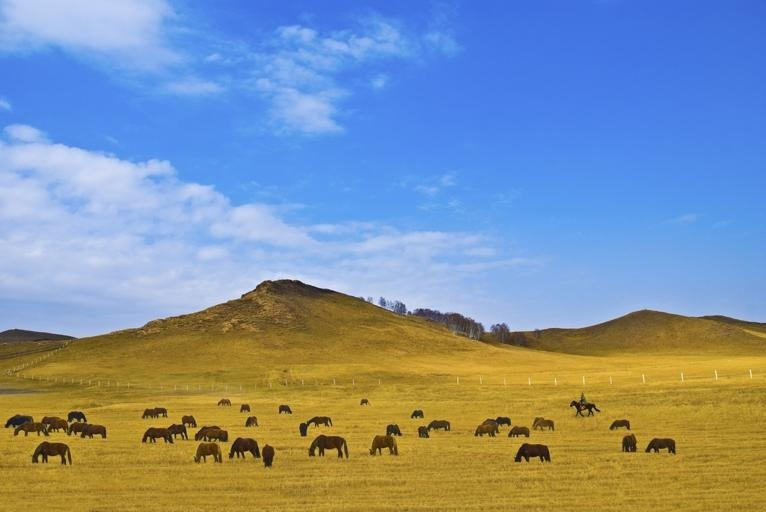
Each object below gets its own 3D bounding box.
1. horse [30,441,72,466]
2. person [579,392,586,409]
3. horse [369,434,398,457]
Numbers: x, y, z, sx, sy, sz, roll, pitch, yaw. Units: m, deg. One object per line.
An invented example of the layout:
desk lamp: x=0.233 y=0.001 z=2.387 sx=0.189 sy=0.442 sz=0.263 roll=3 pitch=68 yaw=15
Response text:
horse: x=-22.640 y=13.489 z=50.617 sx=3.014 sy=1.540 sz=1.268 roll=4 pitch=2 yaw=15
person: x=18.025 y=13.092 z=66.404 sx=0.523 sy=0.969 sz=0.964 roll=4 pitch=2 yaw=12
horse: x=0.083 y=13.560 z=53.043 sx=2.059 sy=1.359 sz=1.501 roll=4 pitch=2 yaw=0
